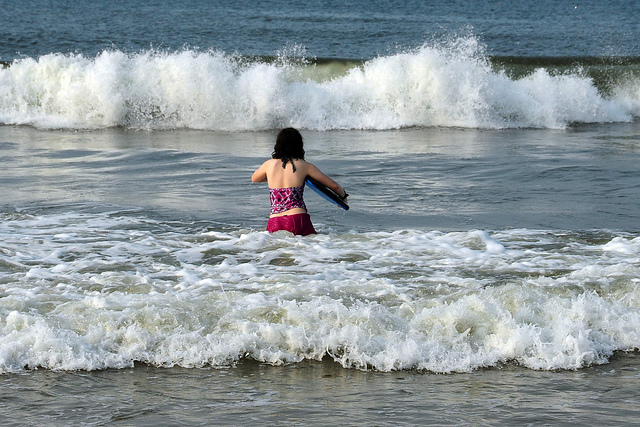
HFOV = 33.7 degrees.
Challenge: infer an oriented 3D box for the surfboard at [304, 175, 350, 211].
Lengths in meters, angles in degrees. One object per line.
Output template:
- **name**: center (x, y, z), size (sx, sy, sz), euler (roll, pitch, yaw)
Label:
- **surfboard**: center (0.082, -0.332, 18.494), size (0.985, 0.252, 0.213), euler (29, 102, -2)
